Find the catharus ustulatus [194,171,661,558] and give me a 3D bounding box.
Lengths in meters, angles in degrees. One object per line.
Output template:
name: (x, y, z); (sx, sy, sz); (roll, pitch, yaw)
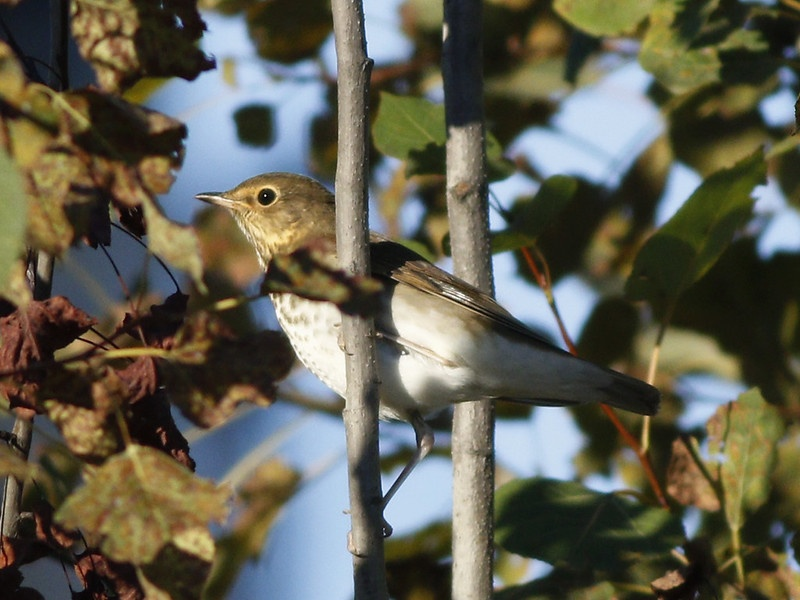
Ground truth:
catharus ustulatus: (0.111, 0.120, 4.326); (1.238, 0.452, 1.013); (-1, 77, 4)
